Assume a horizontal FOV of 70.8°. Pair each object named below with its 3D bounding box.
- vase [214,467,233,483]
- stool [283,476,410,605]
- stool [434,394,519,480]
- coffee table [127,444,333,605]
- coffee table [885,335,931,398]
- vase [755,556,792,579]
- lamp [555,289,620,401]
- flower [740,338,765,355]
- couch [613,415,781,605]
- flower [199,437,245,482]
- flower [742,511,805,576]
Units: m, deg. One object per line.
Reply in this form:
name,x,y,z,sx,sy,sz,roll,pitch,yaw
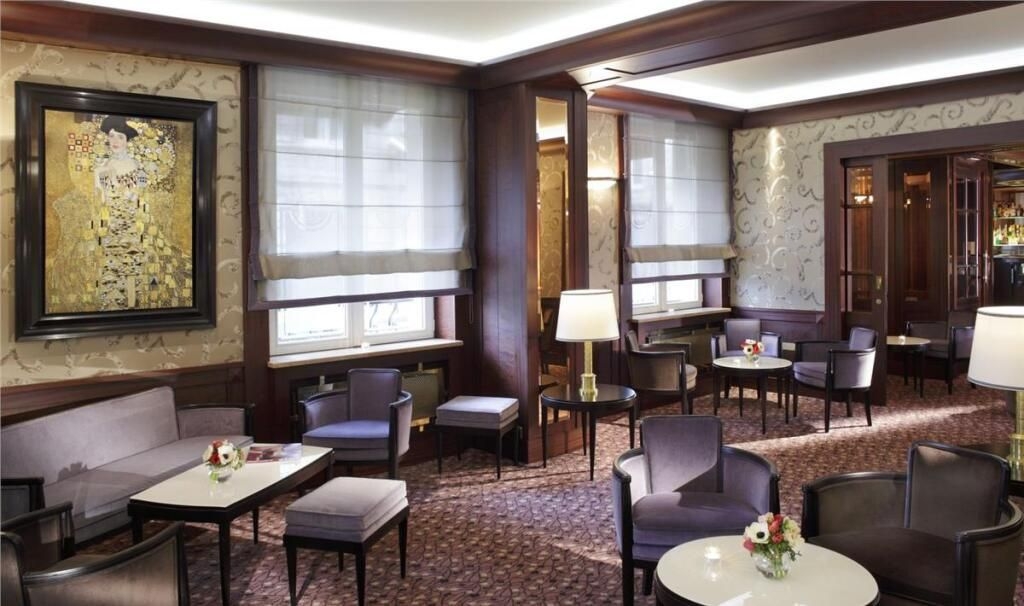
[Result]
vase,-2.308,1.376,5.794,0.118,0.075,0.111,1,-7,-1
stool,-1.304,1.643,5.930,0.901,0.996,1.236,0,0,15
stool,-0.347,1.402,7.689,0.777,0.767,0.576,-1,7,15
coffee table,-2.298,1.414,5.843,1.091,0.769,1.697,3,5,14
coffee table,5.726,0.929,10.436,0.873,0.858,0.855,-2,4,21
vase,1.675,1.683,4.615,0.186,0.117,0.165,-1,0,11
lamp,0.776,0.406,7.506,0.602,1.095,0.786,-2,7,4
flower,2.967,0.555,8.946,0.274,0.161,0.270,-2,0,33
couch,1.369,1.560,6.045,1.665,1.598,1.389,-1,-10,3
flower,-2.336,1.270,5.883,0.348,0.322,0.342,-6,-8,31
flower,1.664,1.599,4.701,0.375,0.350,0.359,-5,-4,29
